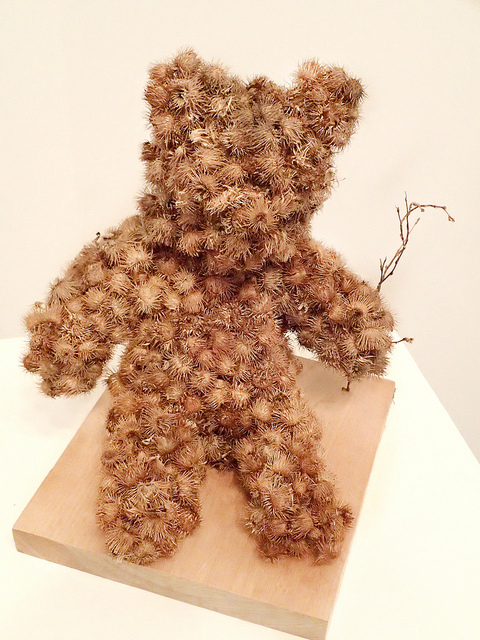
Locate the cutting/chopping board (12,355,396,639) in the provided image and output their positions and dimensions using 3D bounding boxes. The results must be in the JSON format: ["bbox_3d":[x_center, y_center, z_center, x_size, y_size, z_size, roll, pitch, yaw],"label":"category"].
[{"bbox_3d":[-0.144,0.483,1.768,0.817,0.751,0.140,13,-53,11],"label":"cutting/chopping board"}]
